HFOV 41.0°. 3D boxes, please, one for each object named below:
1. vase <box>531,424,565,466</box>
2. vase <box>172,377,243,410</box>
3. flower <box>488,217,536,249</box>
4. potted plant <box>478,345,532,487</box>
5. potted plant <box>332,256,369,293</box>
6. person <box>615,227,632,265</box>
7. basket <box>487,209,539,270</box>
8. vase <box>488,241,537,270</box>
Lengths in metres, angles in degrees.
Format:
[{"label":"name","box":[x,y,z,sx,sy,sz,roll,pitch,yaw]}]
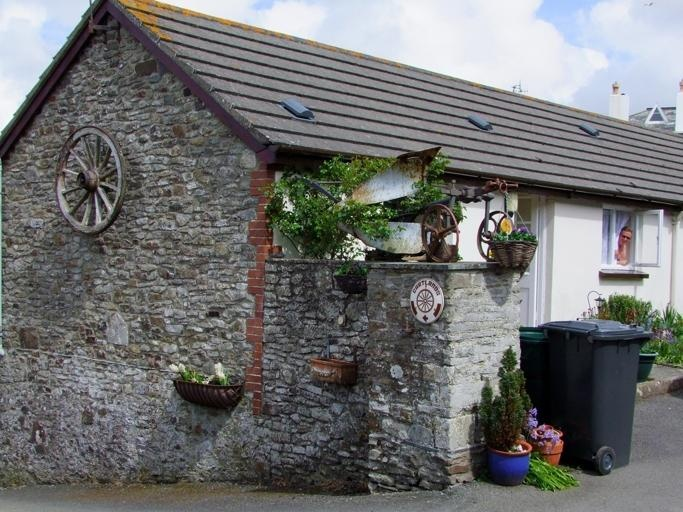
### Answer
[{"label":"vase","box":[2.883,2.545,12.379,0.464,0.572,0.480,0,-7,-20]},{"label":"vase","box":[-2.105,2.210,14.548,1.113,0.435,0.379,1,-9,32]},{"label":"flower","box":[2.455,-0.305,12.542,0.436,0.296,0.572,10,4,27]},{"label":"potted plant","box":[2.274,2.142,12.236,0.753,1.824,0.466,4,-7,4]},{"label":"potted plant","box":[0.180,0.279,13.137,0.447,0.269,0.452,3,-3,-27]},{"label":"person","box":[6.029,-0.239,18.879,0.457,0.842,0.133,10,-9,-38]},{"label":"basket","box":[2.530,-0.185,12.594,0.608,0.775,0.792,-2,-14,34]},{"label":"vase","box":[2.412,-0.031,12.343,0.429,0.303,0.428,3,-6,-31]}]
